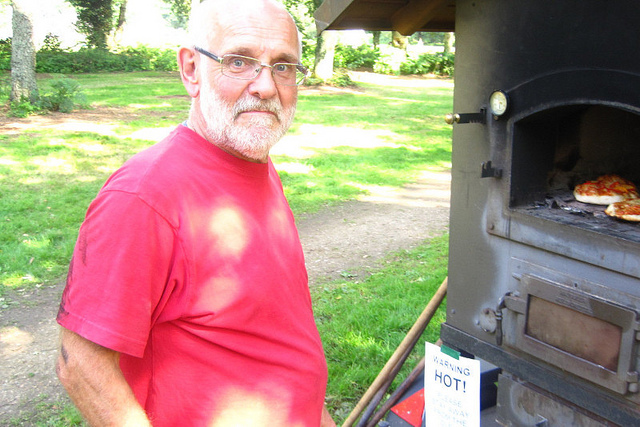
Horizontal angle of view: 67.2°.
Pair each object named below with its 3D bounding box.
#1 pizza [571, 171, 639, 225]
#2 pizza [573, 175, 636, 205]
[{"bbox_3d":[1.890,-0.126,3.122,0.391,0.093,0.393,19,34,32],"label":"pizza"},{"bbox_3d":[1.883,-0.154,3.167,0.257,0.059,0.248,-30,30,-34],"label":"pizza"}]
